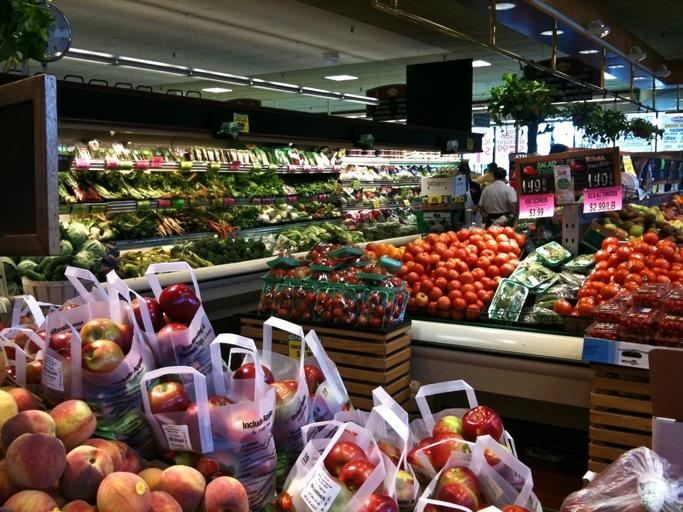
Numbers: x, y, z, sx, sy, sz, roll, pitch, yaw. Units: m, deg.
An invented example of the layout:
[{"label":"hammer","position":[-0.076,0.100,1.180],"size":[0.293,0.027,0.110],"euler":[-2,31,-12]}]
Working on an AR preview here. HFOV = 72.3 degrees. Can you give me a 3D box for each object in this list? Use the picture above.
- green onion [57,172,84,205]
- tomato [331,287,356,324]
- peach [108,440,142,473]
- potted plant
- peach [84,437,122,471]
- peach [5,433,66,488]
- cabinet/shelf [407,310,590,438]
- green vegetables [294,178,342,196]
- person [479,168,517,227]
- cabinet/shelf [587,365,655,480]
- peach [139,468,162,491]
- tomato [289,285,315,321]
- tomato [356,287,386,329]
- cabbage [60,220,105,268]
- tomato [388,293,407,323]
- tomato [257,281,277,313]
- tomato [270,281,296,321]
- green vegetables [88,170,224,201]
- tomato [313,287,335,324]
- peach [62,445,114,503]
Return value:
[{"label":"green onion","position":[-2.641,-0.668,4.571],"size":[0.198,0.310,0.256],"euler":[-8,10,-28]},{"label":"tomato","position":[0.001,0.312,2.879],"size":[0.160,0.207,0.074],"euler":[-2,-5,13]},{"label":"peach","position":[-0.507,0.448,1.056],"size":[0.056,0.055,0.056],"euler":[28,-32,-14]},{"label":"potted plant","position":[2.858,-2.290,7.649],"size":[0.694,1.282,1.122],"euler":[7,14,36]},{"label":"peach","position":[-0.515,0.430,1.034],"size":[0.065,0.065,0.065],"euler":[4,-9,23]},{"label":"peach","position":[-0.606,0.405,0.920],"size":[0.102,0.097,0.053],"euler":[-4,8,-7]},{"label":"cabinet/shelf","position":[1.244,0.781,3.348],"size":[1.432,0.651,0.956],"euler":[7,13,35]},{"label":"green vegetables","position":[-0.350,-1.013,6.975],"size":[0.494,0.174,0.282],"euler":[-7,5,-39]},{"label":"person","position":[2.641,-0.652,7.819],"size":[0.583,1.527,0.493],"euler":[12,27,37]},{"label":"cabinet/shelf","position":[1.388,0.774,2.421],"size":[0.300,0.616,0.343],"euler":[4,10,31]},{"label":"peach","position":[-0.420,0.489,1.045],"size":[0.038,0.036,0.044],"euler":[46,-9,-21]},{"label":"tomato","position":[-0.248,0.305,3.025],"size":[0.160,0.214,0.070],"euler":[7,14,19]},{"label":"tomato","position":[0.186,0.331,2.888],"size":[0.160,0.220,0.068],"euler":[0,-5,18]},{"label":"cabbage","position":[-2.088,-0.085,3.745],"size":[0.264,0.143,0.340],"euler":[33,15,-52]},{"label":"tomato","position":[0.360,0.332,3.016],"size":[0.132,0.190,0.064],"euler":[16,-15,-31]},{"label":"tomato","position":[-0.486,0.289,3.211],"size":[0.073,0.210,0.143],"euler":[11,-8,-38]},{"label":"tomato","position":[-0.389,0.295,3.082],"size":[0.156,0.227,0.078],"euler":[-4,-10,21]},{"label":"green vegetables","position":[-1.999,-0.792,5.268],"size":[0.415,0.336,1.514],"euler":[3,10,35]},{"label":"tomato","position":[-0.114,0.321,2.977],"size":[0.143,0.211,0.067],"euler":[-5,-9,26]},{"label":"peach","position":[-0.542,0.452,0.983],"size":[0.087,0.090,0.086],"euler":[24,21,-45]}]
